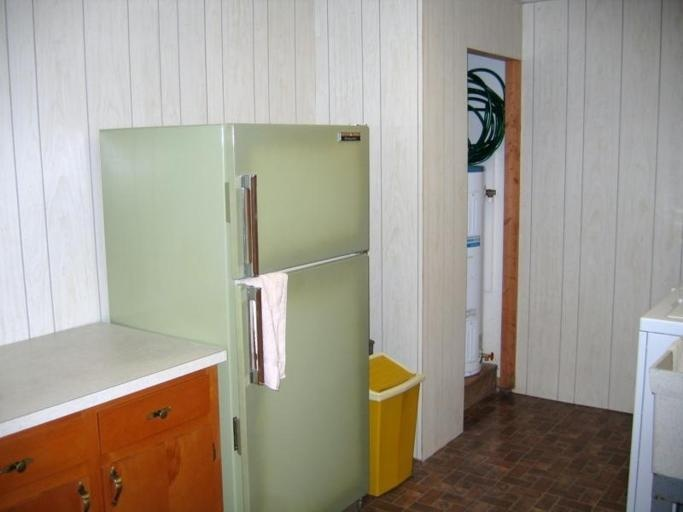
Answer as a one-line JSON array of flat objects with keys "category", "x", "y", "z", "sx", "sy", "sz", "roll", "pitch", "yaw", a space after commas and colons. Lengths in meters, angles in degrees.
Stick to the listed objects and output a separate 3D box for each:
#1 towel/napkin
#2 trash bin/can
[{"category": "towel/napkin", "x": -0.329, "y": 0.322, "z": 2.507, "sx": 0.152, "sy": 0.487, "sz": 0.154, "roll": 3, "pitch": 12, "yaw": 17}, {"category": "trash bin/can", "x": 0.264, "y": 1.003, "z": 3.361, "sx": 0.314, "sy": 0.685, "sz": 0.452, "roll": 6, "pitch": 14, "yaw": 32}]
